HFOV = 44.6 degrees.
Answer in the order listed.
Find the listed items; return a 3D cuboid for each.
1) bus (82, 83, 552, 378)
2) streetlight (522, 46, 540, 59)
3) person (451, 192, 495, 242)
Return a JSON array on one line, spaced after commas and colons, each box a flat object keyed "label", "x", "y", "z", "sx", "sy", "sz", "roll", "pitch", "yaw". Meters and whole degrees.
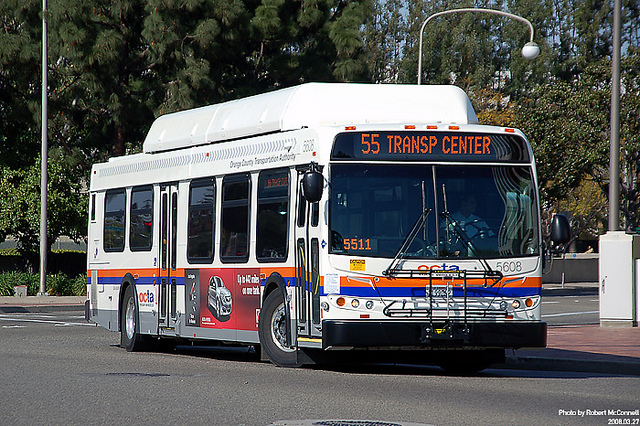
[{"label": "bus", "x": -0.581, "y": 0.286, "z": 15.270, "sx": 9.188, "sy": 3.578, "sz": 2.907, "roll": -2, "pitch": 1, "yaw": 40}, {"label": "streetlight", "x": 7.187, "y": -5.537, "z": 26.636, "sx": 0.456, "sy": 0.373, "sz": 0.465, "roll": -2, "pitch": -2, "yaw": 43}, {"label": "person", "x": 2.518, "y": 0.007, "z": 13.446, "sx": 0.920, "sy": 0.831, "sz": 0.424, "roll": -4, "pitch": 7, "yaw": -20}]
